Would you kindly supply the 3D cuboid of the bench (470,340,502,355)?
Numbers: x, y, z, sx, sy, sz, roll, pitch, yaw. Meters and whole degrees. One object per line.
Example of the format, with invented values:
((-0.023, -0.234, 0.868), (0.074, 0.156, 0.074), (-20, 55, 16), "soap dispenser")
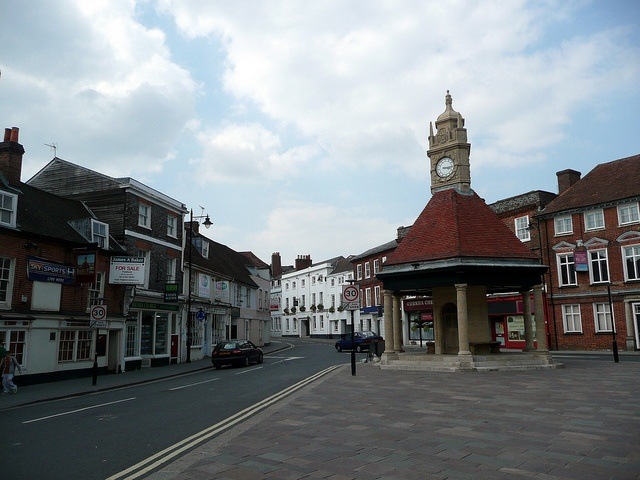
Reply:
((7.802, 5.125, 25.427), (0.895, 0.565, 2.687), (-11, -16, 29), "bench")

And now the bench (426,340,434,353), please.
((5.605, 5.440, 27.304), (0.345, 0.691, 1.644), (-5, -14, 9), "bench")

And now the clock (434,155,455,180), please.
((6.473, -3.739, 28.059), (0.287, 1.197, 1.090), (7, -17, -36), "clock")

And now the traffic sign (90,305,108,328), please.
((-9.650, 3.306, 23.497), (0.584, 0.884, 0.484), (0, -14, -12), "traffic sign")

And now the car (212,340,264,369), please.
((-4.579, 6.579, 31.230), (1.429, 0.995, 3.170), (-3, -7, 17), "car")
